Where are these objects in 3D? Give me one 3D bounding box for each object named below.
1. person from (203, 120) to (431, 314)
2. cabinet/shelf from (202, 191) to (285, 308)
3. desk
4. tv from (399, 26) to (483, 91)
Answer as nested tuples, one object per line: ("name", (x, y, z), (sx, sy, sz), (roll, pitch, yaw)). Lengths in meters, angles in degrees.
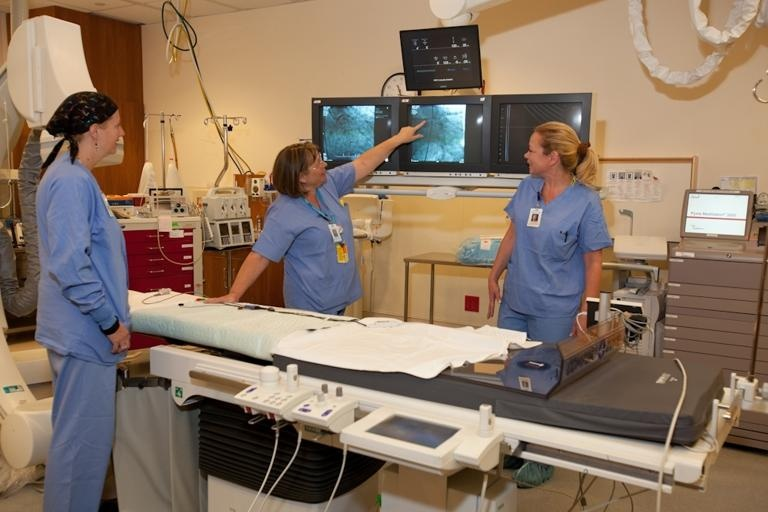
("person", (-0.444, -0.222, 4.620), (0.635, 1.664, 1.499), (9, 31, 24))
("cabinet/shelf", (-1.177, -0.026, 4.876), (0.362, 0.953, 1.037), (3, 7, 20))
("desk", (0.544, 0.217, 5.678), (0.916, 0.847, 0.686), (2, 2, 25))
("tv", (0.420, -1.435, 4.402), (0.622, 0.456, 0.082), (-1, 16, 18))
